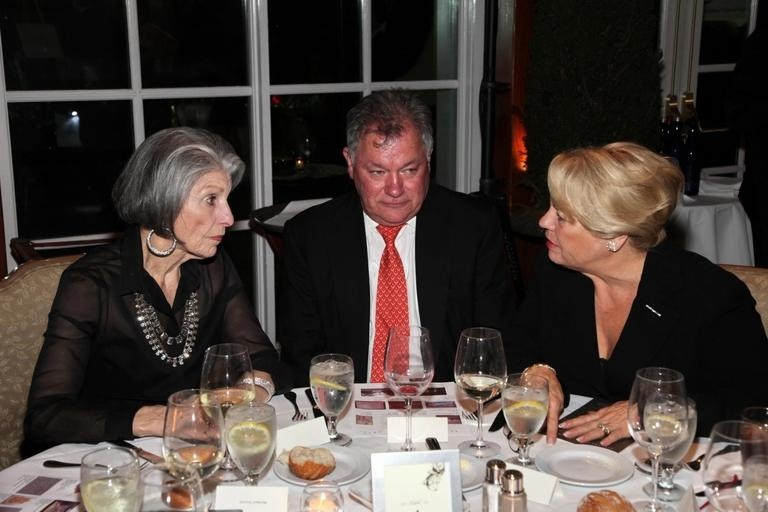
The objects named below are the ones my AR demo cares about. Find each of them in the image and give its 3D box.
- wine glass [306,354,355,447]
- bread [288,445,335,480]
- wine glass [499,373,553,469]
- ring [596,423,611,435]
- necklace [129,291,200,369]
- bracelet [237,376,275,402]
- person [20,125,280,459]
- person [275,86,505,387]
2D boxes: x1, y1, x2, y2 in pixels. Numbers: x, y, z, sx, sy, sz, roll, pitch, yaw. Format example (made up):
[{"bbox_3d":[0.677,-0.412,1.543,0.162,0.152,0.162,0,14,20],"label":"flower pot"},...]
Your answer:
[{"bbox_3d":[-0.158,0.433,1.929,0.125,0.259,0.280,-5,9,-7],"label":"wine glass"},{"bbox_3d":[-0.204,0.579,1.741,0.128,0.069,0.083,-6,9,-11],"label":"bread"},{"bbox_3d":[0.393,0.469,1.755,0.130,0.257,0.132,1,5,27],"label":"wine glass"},{"bbox_3d":[0.688,0.538,1.939,0.023,0.009,0.025,4,13,-1],"label":"ring"},{"bbox_3d":[-0.819,0.278,2.287,0.267,0.333,0.027,-7,2,-29],"label":"necklace"},{"bbox_3d":[-0.409,0.431,2.031,0.095,0.044,0.110,4,-3,-26],"label":"bracelet"},{"bbox_3d":[-0.864,0.160,2.309,0.869,1.207,0.938,1,0,24],"label":"person"},{"bbox_3d":[0.046,0.227,2.866,0.974,1.806,0.868,-4,9,0],"label":"person"}]
